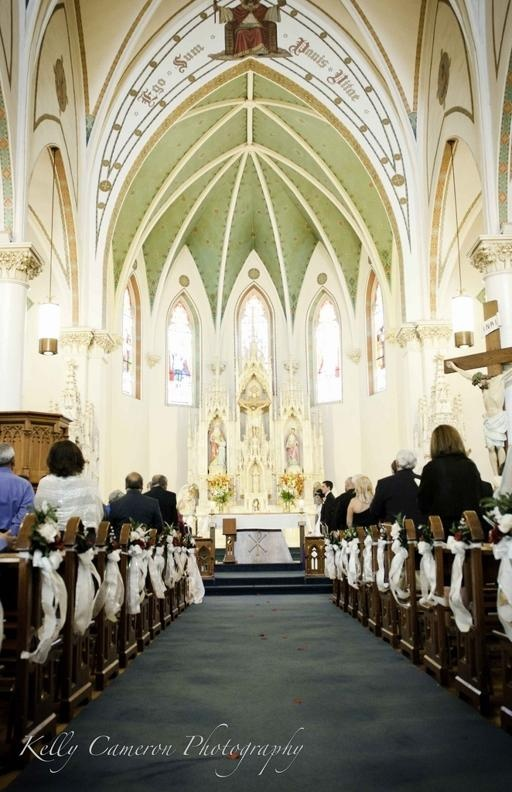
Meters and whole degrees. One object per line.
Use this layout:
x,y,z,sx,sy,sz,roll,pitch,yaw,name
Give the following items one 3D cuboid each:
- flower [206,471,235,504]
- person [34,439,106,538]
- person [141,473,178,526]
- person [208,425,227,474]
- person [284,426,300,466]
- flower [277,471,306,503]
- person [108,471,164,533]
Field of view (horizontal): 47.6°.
-0.994,2.555,16.204,0.711,0.834,0.713,0,-37,-3,flower
-1.105,0.618,3.495,0.343,0.820,0.262,2,21,-3,person
-1.159,1.494,7.167,0.346,1.076,0.302,4,9,-7,person
-1.136,1.462,17.149,0.556,1.612,0.345,0,-7,-6,person
1.080,1.520,17.241,0.502,1.203,0.285,-2,-7,5,person
0.979,2.577,16.362,0.599,0.866,0.354,1,-6,8,flower
-1.194,1.218,5.764,0.487,0.922,0.418,-2,-1,-14,person
